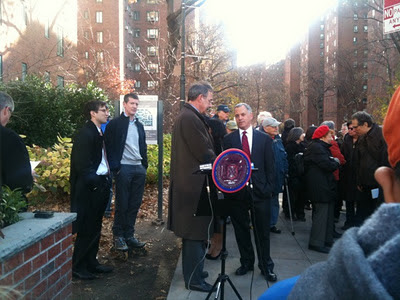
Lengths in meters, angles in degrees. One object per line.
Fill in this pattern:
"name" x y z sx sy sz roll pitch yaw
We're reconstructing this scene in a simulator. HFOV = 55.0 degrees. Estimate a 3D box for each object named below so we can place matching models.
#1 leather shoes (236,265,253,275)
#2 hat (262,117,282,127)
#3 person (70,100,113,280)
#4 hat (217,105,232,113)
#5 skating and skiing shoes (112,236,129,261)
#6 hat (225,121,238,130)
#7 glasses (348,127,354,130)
"leather shoes" 0.626 1.740 5.587 0.282 0.110 0.101 11 -19 -36
"hat" 1.422 -0.569 7.807 0.264 0.144 0.206 -2 5 16
"person" -1.579 0.540 5.542 0.450 2.551 0.647 2 4 30
"hat" 0.516 -0.942 8.630 0.270 0.148 0.207 1 5 11
"skating and skiing shoes" -1.375 1.600 6.558 0.207 0.246 0.557 17 -8 -29
"hat" 0.648 -0.508 8.089 0.182 0.145 0.266 1 1 -6
"glasses" 3.213 -0.462 8.223 0.083 0.067 0.085 -1 4 3
